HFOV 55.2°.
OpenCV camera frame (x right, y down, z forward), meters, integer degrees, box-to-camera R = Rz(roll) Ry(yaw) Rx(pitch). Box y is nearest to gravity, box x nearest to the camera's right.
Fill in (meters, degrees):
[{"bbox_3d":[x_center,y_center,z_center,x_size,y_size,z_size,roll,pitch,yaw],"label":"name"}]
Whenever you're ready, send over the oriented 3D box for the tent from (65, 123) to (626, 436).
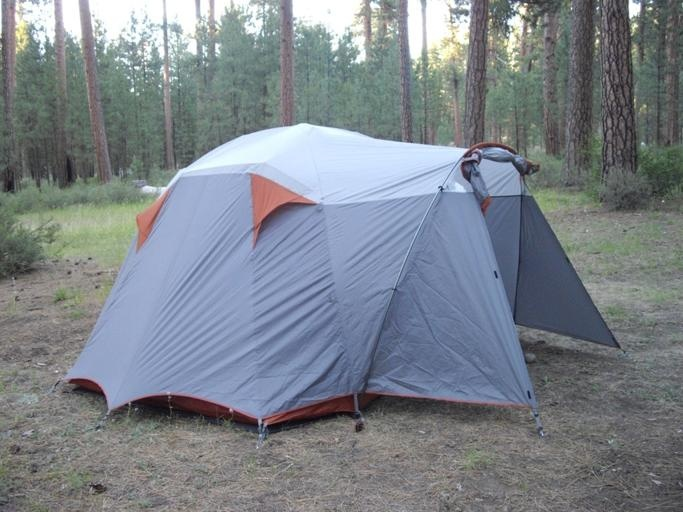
[{"bbox_3d":[-0.343,0.220,7.472,4.708,2.887,1.825,-2,11,-1],"label":"tent"}]
